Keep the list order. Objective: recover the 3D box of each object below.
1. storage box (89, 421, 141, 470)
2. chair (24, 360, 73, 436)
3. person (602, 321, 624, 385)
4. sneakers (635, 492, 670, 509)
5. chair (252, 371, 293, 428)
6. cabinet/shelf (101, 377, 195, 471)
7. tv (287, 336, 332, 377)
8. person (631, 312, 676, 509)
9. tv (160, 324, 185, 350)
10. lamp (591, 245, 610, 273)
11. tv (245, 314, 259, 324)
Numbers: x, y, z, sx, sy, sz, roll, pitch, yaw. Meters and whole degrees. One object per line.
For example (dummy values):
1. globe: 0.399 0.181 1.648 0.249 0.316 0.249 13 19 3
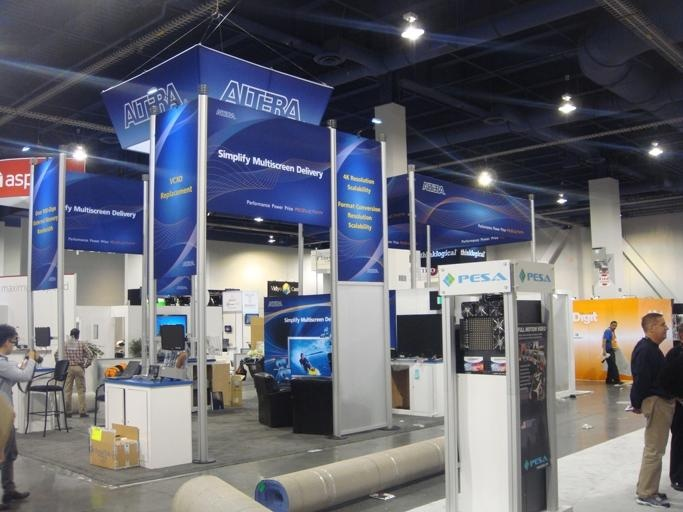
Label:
1. storage box: -2.689 2.227 6.624 0.589 0.440 0.322 -5 -7 39
2. chair: -4.526 2.141 8.679 0.544 1.040 0.553 -3 -8 11
3. person: 6.775 2.379 14.070 0.392 1.526 0.930 -2 -4 25
4. sneakers: 2.907 2.263 5.230 0.308 0.132 0.113 -1 -5 8
5. chair: -1.051 2.281 9.184 0.640 0.821 0.737 0 2 -30
6. cabinet/shelf: -2.448 1.975 7.064 1.506 1.400 0.874 -12 -14 42
7. tv: -0.469 1.535 8.574 0.685 0.967 0.035 0 -4 33
8. person: 2.995 1.442 5.398 0.361 1.769 0.422 -2 -4 29
9. tv: -2.549 1.225 8.474 0.411 0.293 0.055 -6 -7 43
10. lamp: 8.029 0.082 17.752 0.726 1.005 0.672 -1 -3 22
11. tv: -2.678 1.867 16.850 0.276 0.338 0.504 -4 -1 -11
